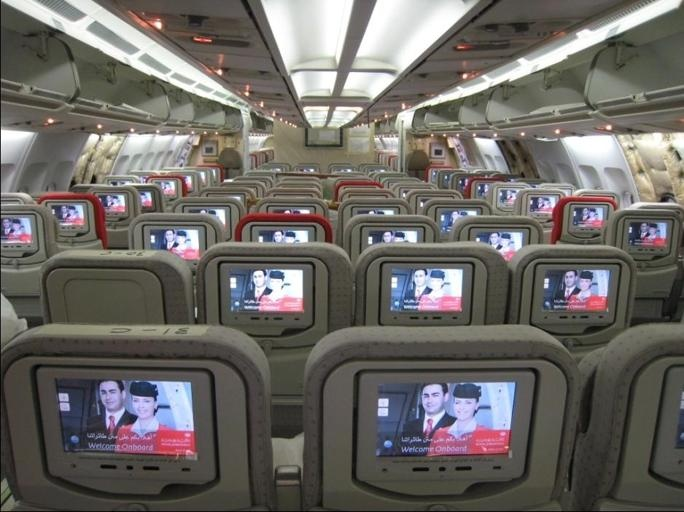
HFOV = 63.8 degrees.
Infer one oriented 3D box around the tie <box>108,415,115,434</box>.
[{"bbox_3d":[-0.968,0.699,2.296,0.029,0.079,0.032,1,-5,-24],"label":"tie"}]
